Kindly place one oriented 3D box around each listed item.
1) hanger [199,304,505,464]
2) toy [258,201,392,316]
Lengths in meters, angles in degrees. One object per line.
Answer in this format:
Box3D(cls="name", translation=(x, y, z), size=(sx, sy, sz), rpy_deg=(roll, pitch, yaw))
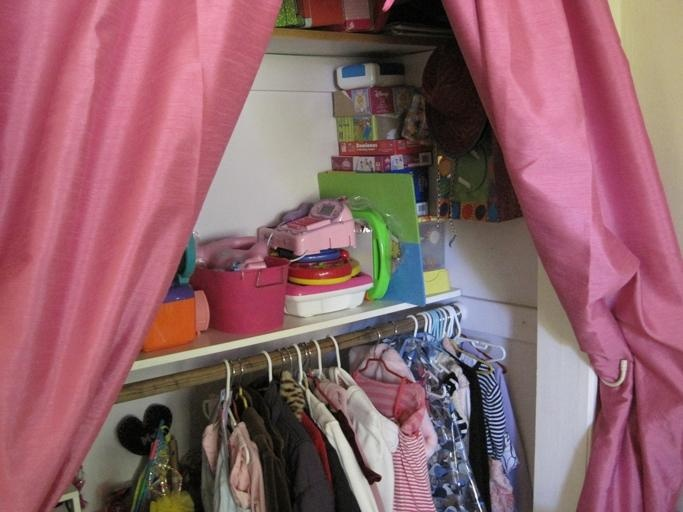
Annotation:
Box3D(cls="hanger", translation=(-0.021, 0.279, 1.674), size=(0.989, 0.229, 0.395), rpy_deg=(-8, 15, -29))
Box3D(cls="toy", translation=(-0.026, -0.012, 1.700), size=(0.353, 0.293, 0.271), rpy_deg=(-3, 6, -36))
